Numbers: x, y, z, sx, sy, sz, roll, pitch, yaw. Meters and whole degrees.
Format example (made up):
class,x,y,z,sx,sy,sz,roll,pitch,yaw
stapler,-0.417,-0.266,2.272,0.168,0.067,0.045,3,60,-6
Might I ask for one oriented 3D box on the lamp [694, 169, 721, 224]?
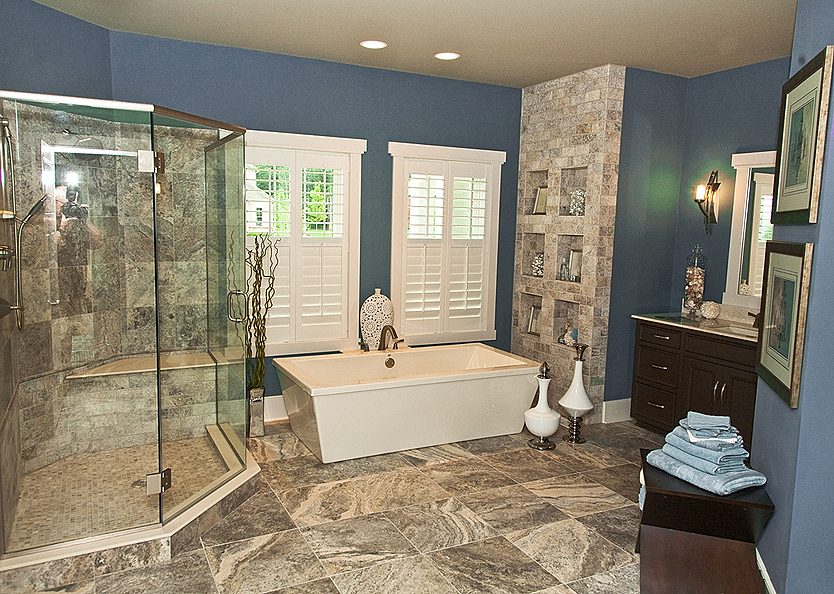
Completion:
class,x,y,z,sx,sy,sz,roll,pitch,yaw
lamp,2.642,-0.906,5.299,0.233,0.496,0.102,7,11,28

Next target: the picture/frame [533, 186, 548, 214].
class,x,y,z,sx,sy,sz,roll,pitch,yaw
picture/frame,1.259,-0.984,5.972,0.176,0.252,0.051,2,-3,31

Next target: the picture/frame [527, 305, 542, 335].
class,x,y,z,sx,sy,sz,roll,pitch,yaw
picture/frame,1.235,0.240,6.110,0.035,0.332,0.284,0,4,-30

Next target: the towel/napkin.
class,x,y,z,sx,sy,sz,roll,pitch,yaw
towel/napkin,1.589,0.776,3.149,0.385,0.292,0.475,1,1,-16

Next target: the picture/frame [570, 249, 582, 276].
class,x,y,z,sx,sy,sz,roll,pitch,yaw
picture/frame,1.518,-0.315,5.590,0.096,0.239,0.223,3,10,10
